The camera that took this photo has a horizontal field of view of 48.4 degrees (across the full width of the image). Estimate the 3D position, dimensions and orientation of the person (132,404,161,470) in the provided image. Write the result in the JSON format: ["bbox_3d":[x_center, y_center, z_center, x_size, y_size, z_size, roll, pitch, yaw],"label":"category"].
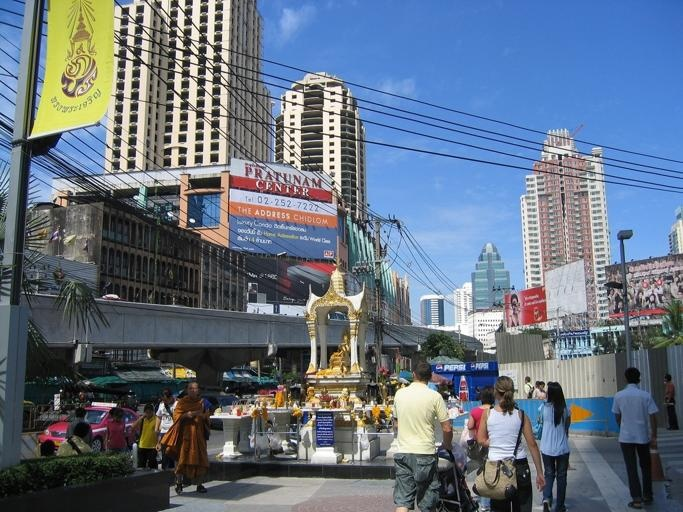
[{"bbox_3d":[-4.327,4.011,16.838,0.526,1.370,1.268,2,-14,-13],"label":"person"}]

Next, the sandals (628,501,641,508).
[{"bbox_3d":[5.253,4.444,13.516,0.255,0.147,0.268,-4,-14,12],"label":"sandals"}]

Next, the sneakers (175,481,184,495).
[{"bbox_3d":[-3.279,4.717,15.390,0.152,0.236,0.375,2,-14,-13],"label":"sneakers"}]

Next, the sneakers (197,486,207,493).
[{"bbox_3d":[-2.847,4.761,15.415,0.214,0.150,0.119,-16,-17,40],"label":"sneakers"}]

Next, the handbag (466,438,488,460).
[{"bbox_3d":[2.170,3.134,12.209,0.382,0.493,0.287,-3,-10,16],"label":"handbag"}]

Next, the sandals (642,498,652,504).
[{"bbox_3d":[5.529,4.442,13.710,0.095,0.056,0.165,1,2,15],"label":"sandals"}]

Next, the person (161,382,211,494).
[{"bbox_3d":[-3.099,3.684,15.355,0.825,2.179,0.532,3,-14,-18],"label":"person"}]

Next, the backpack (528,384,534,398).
[{"bbox_3d":[7.493,5.414,30.037,0.126,0.375,0.261,9,-4,37],"label":"backpack"}]

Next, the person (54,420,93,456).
[{"bbox_3d":[-4.879,3.414,14.063,0.487,0.302,0.849,-4,9,-3],"label":"person"}]

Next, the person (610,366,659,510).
[{"bbox_3d":[5.427,3.307,13.878,0.723,2.486,0.774,-7,-14,26],"label":"person"}]
